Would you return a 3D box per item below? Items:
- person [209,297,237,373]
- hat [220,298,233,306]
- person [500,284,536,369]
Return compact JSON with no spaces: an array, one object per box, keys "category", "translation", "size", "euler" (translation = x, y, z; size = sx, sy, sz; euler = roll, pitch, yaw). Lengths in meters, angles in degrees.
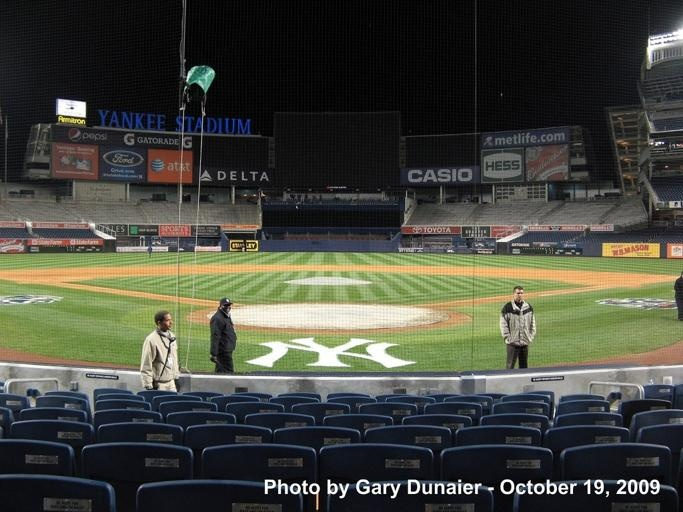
[{"category":"person","translation":[-2.401,1.593,16.569],"size":[0.466,1.488,0.613],"euler":[0,-5,-7]},{"category":"hat","translation":[-2.376,0.934,16.599],"size":[0.216,0.095,0.164],"euler":[-5,-6,29]},{"category":"person","translation":[3.685,1.489,17.212],"size":[0.689,1.695,0.626],"euler":[-1,-5,9]}]
